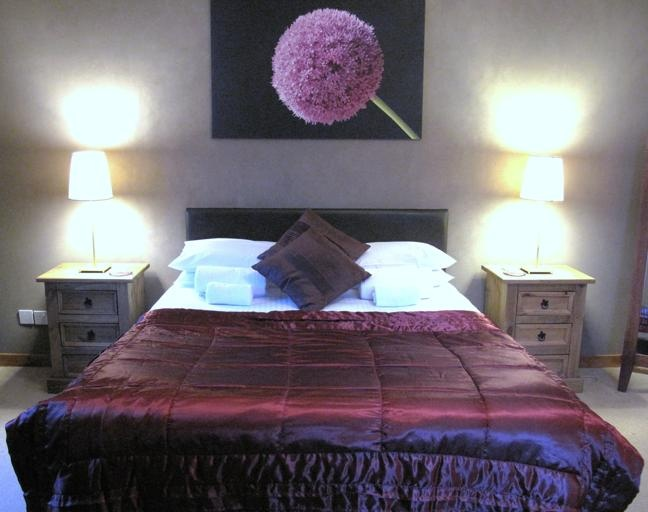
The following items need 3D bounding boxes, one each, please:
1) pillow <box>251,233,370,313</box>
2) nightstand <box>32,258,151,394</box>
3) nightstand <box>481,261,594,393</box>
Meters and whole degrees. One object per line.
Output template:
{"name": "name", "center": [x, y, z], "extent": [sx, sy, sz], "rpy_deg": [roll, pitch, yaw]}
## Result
{"name": "pillow", "center": [-0.080, 0.105, 3.912], "extent": [0.538, 0.158, 0.570], "rpy_deg": [39, 50, 24]}
{"name": "nightstand", "center": [-1.692, 0.544, 4.442], "extent": [0.759, 0.850, 0.676], "rpy_deg": [2, 9, 13]}
{"name": "nightstand", "center": [1.655, 0.547, 4.573], "extent": [0.767, 0.879, 0.725], "rpy_deg": [4, 13, 20]}
